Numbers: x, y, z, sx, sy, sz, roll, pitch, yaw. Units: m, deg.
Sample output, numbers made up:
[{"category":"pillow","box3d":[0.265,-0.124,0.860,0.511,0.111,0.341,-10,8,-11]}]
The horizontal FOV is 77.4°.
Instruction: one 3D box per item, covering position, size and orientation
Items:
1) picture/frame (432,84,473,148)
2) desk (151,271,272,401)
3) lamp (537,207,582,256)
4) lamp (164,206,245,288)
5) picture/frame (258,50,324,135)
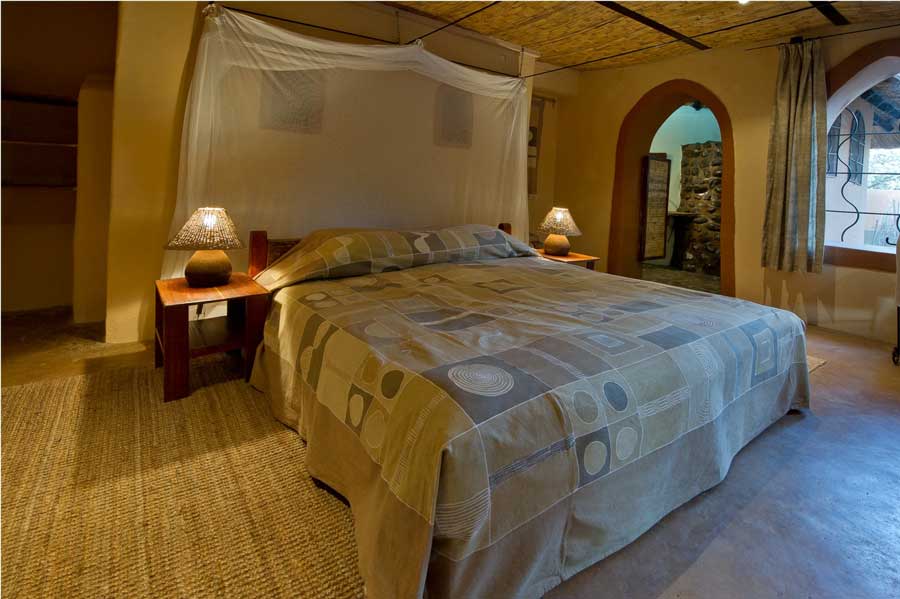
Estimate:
[{"category":"picture/frame","box3d":[0.012,-1.671,5.027,0.495,0.597,0.059,-5,13,-32]},{"category":"desk","box3d":[-1.644,0.282,3.982,0.744,0.796,0.755,-7,14,-40]},{"category":"lamp","box3d":[1.106,-0.694,5.665,0.433,0.545,0.457,0,6,13]},{"category":"lamp","box3d":[-1.682,-0.380,3.936,0.441,0.561,0.442,15,15,42]},{"category":"picture/frame","box3d":[-1.140,-1.519,4.119,0.456,0.504,0.112,-6,14,-30]}]
